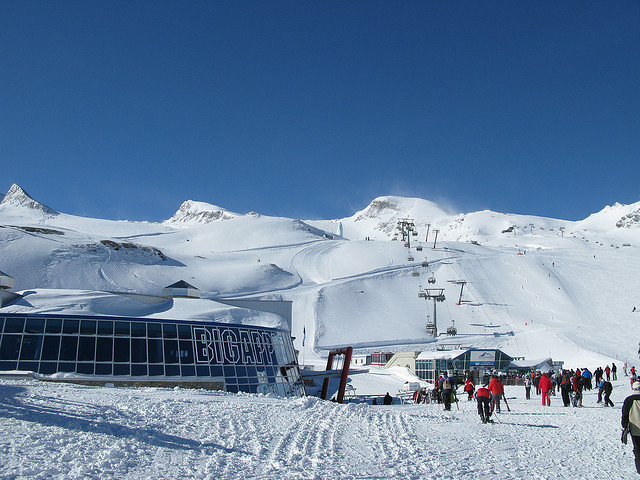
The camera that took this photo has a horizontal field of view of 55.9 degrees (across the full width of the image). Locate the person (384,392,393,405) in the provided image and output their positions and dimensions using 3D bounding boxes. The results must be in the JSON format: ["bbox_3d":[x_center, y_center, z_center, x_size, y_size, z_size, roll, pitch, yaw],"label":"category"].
[{"bbox_3d":[4.083,9.533,36.172,0.338,0.749,0.749,8,9,18],"label":"person"}]
